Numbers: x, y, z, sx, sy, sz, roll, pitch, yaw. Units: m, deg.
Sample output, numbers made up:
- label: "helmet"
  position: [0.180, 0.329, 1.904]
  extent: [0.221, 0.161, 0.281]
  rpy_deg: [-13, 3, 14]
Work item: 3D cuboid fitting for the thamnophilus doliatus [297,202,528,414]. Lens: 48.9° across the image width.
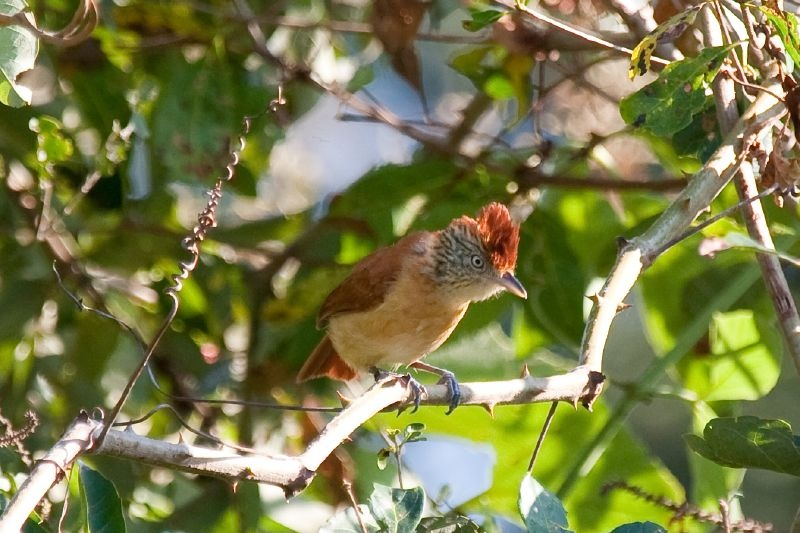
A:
- label: "thamnophilus doliatus"
  position: [0.117, 0.136, 4.912]
  extent: [1.489, 0.758, 1.249]
  rpy_deg: [-2, 72, 22]
